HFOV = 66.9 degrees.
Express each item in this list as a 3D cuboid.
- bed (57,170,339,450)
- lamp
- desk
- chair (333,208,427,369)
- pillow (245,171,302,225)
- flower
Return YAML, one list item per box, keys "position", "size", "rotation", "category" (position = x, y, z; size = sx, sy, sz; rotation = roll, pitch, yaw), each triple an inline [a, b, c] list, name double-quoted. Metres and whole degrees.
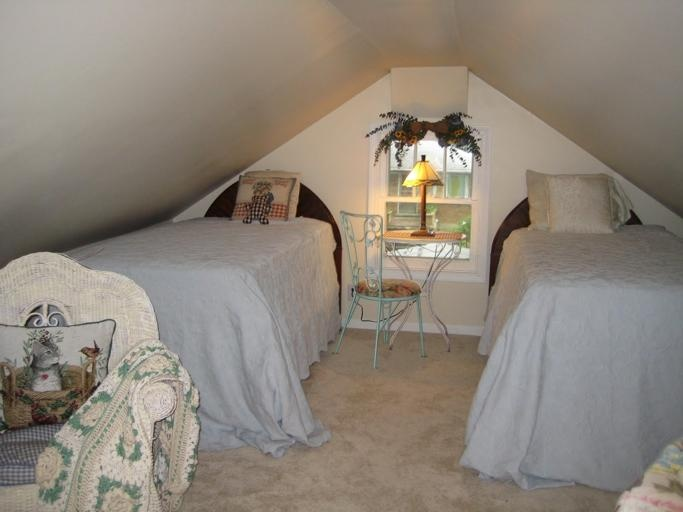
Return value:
- position: [-0.782, 0.331, 3.673]
  size: [1.597, 1.008, 2.416]
  rotation: [-1, 9, -5]
  category: "bed"
- position: [0.648, -0.493, 4.160]
  size: [0.298, 0.609, 0.500]
  rotation: [1, 13, 7]
  category: "lamp"
- position: [0.674, 0.253, 4.357]
  size: [0.758, 1.094, 0.850]
  rotation: [1, 4, 6]
  category: "desk"
- position: [0.295, 0.222, 3.996]
  size: [0.595, 1.166, 0.655]
  rotation: [4, 10, 28]
  category: "chair"
- position: [-0.478, -0.503, 4.130]
  size: [0.411, 0.427, 0.130]
  rotation: [1, -7, 19]
  category: "pillow"
- position: [0.665, -0.936, 4.195]
  size: [0.930, 0.447, 0.264]
  rotation: [1, 13, 4]
  category: "flower"
